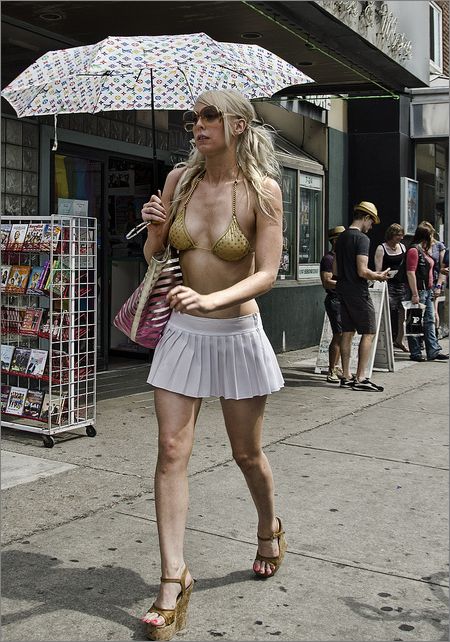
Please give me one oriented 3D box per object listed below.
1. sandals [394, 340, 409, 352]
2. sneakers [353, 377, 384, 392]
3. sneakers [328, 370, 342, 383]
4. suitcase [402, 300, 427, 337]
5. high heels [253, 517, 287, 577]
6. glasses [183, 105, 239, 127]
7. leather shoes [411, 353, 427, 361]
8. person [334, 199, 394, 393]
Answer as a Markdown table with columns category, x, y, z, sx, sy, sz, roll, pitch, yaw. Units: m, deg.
| category | x | y | z | sx | sy | sz | roll | pitch | yaw |
| --- | --- | --- | --- | --- | --- | --- | --- | --- | --- |
| sandals | 3.340 | 0.492 | 11.720 | 0.127 | 0.149 | 0.377 | 4 | 7 | -43 |
| sneakers | 1.783 | 0.805 | 7.628 | 0.424 | 0.177 | 0.143 | 1 | 1 | 7 |
| sneakers | 1.515 | 0.785 | 8.422 | 0.112 | 0.133 | 0.334 | -1 | -7 | 3 |
| suitcase | 3.379 | -0.035 | 10.886 | 0.406 | 0.668 | 0.771 | 2 | 1 | 15 |
| high heels | 0.182 | 0.883 | 2.477 | 0.091 | 0.277 | 0.117 | -8 | -38 | 37 |
| glasses | -0.035 | -0.687 | 2.053 | 0.164 | 0.073 | 0.094 | 2 | 1 | 15 |
| leather shoes | 3.385 | 0.647 | 10.632 | 0.283 | 0.122 | 0.098 | 0 | 3 | 23 |
| person | 1.667 | -0.304 | 7.569 | 0.619 | 2.355 | 0.648 | 2 | 0 | 10 |
